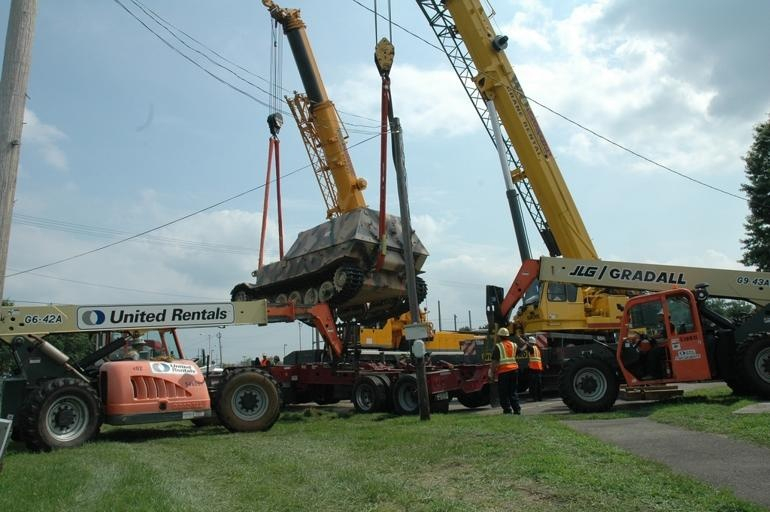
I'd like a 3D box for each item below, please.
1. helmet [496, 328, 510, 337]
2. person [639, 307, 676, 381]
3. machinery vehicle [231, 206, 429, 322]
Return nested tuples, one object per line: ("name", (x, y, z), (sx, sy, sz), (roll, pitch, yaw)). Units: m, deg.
("helmet", (3.017, 1.992, 15.035), (0.246, 0.180, 0.343), (2, -12, -3))
("person", (6.374, 2.096, 13.737), (0.540, 1.614, 0.201), (-3, -3, 29))
("machinery vehicle", (-2.333, 0.838, 24.381), (7.369, 3.500, 4.320), (-11, -15, 39))
